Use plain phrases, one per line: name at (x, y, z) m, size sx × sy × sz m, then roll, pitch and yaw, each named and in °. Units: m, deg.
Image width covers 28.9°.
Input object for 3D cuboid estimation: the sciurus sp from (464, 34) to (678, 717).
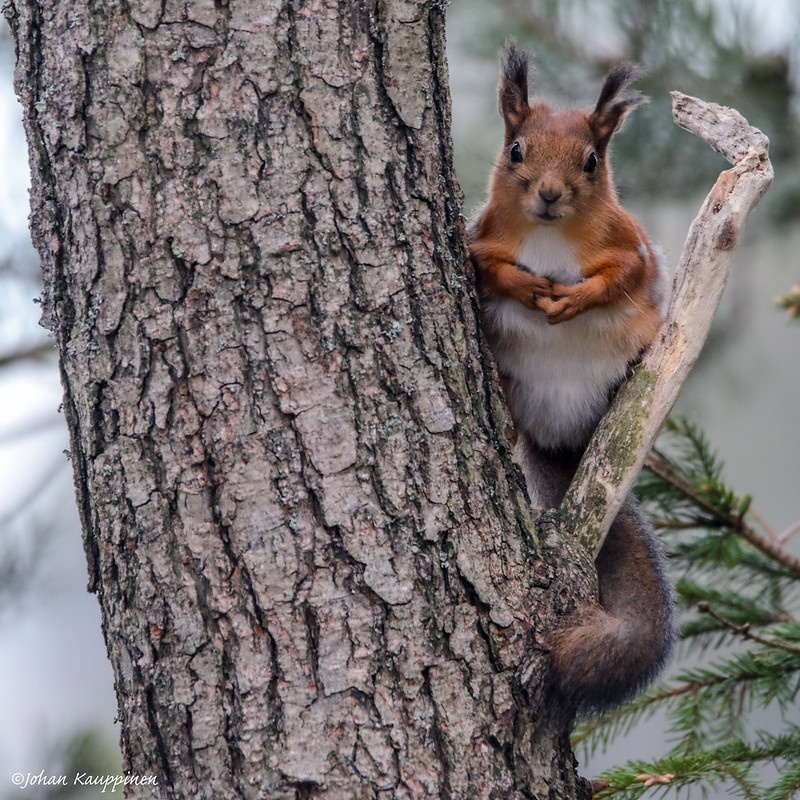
sciurus sp at (0.517, -0.210, 4.434) m, size 0.480 × 2.091 × 0.725 m, roll -3°, pitch 9°, yaw 1°
